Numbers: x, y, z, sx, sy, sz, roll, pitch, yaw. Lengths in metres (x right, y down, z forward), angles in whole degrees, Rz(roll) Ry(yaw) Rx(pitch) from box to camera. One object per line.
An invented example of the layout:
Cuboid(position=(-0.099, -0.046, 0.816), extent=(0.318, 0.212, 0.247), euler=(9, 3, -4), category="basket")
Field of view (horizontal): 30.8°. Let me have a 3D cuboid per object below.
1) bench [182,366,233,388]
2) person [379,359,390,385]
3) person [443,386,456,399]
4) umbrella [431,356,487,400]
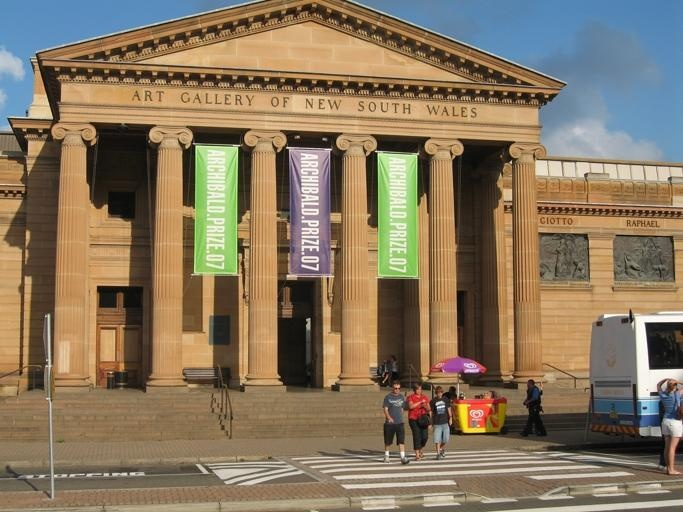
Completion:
Cuboid(position=(-6.291, 5.646, 57.877), extent=(2.204, 0.961, 0.899), euler=(2, -4, -14), category="bench")
Cuboid(position=(2.026, 5.664, 59.475), extent=(0.376, 0.918, 0.697), euler=(7, -1, -20), category="person")
Cuboid(position=(4.279, 5.510, 49.771), extent=(0.351, 0.401, 0.992), euler=(-17, -6, -19), category="person")
Cuboid(position=(4.593, 4.817, 48.944), extent=(1.862, 1.049, 1.763), euler=(-1, -2, 17), category="umbrella")
